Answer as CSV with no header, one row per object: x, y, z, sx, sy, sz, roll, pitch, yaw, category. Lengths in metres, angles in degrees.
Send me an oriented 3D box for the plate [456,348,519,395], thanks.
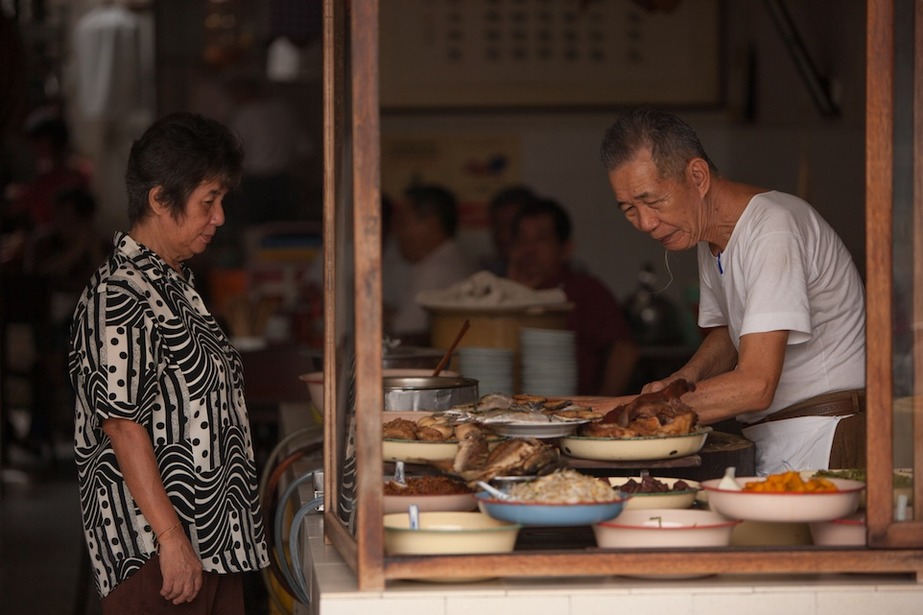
0.120,0.291,6.525,0.244,0.223,0.211,0,0,-7,plate

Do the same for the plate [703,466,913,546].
0.987,0.598,4.397,0.478,0.228,0.278,-1,0,13,plate

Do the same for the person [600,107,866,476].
0.997,-0.043,5.135,0.797,1.290,0.776,-1,0,30,person

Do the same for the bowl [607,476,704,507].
0.601,0.579,4.463,0.284,0.103,0.349,-1,0,6,bowl

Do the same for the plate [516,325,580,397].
0.410,0.262,6.765,0.323,0.328,0.302,0,3,-10,plate
